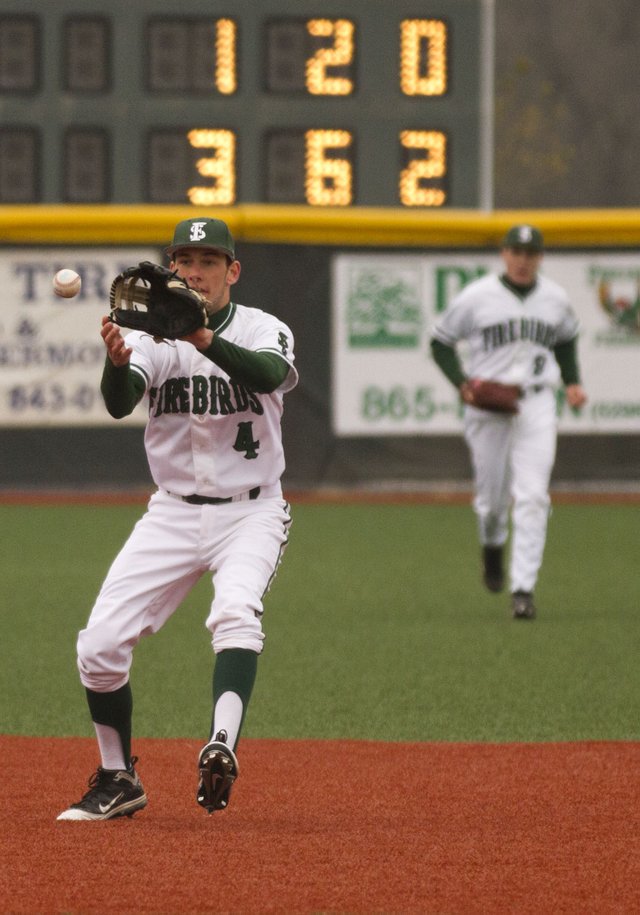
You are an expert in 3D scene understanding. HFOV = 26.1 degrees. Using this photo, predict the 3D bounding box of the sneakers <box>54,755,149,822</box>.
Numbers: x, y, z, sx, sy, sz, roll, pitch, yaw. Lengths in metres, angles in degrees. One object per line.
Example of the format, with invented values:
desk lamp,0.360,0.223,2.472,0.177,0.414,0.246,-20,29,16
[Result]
sneakers,-0.440,0.702,2.903,0.073,0.092,0.216,-5,-3,43

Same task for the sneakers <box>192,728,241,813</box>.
sneakers,-0.191,0.576,2.568,0.063,0.144,0.067,7,5,3

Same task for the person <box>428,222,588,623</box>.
person,0.739,-0.121,5.242,0.453,1.484,0.664,-2,15,-28

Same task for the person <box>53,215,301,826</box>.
person,-0.283,0.196,2.920,0.426,1.360,0.900,5,13,-1

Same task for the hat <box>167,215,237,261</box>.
hat,-0.253,-0.471,2.995,0.137,0.092,0.184,3,13,-5

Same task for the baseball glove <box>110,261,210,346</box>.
baseball glove,-0.313,-0.294,2.654,0.188,0.134,0.056,32,10,28

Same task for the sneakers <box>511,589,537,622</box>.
sneakers,0.760,0.546,5.082,0.074,0.053,0.113,2,19,1

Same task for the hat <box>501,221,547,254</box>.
hat,0.750,-0.799,5.070,0.102,0.065,0.133,4,-8,4
